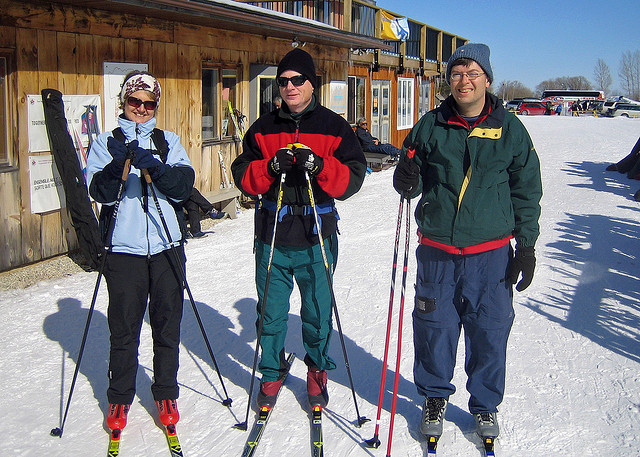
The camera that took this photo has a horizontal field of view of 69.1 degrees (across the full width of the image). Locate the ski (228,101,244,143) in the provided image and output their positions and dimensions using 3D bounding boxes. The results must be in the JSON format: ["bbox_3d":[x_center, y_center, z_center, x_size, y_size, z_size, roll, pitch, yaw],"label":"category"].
[{"bbox_3d":[-1.685,-2.157,9.314,0.258,0.745,0.237,1,14,9],"label":"ski"}]

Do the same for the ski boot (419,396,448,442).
[{"bbox_3d":[0.748,1.237,3.049,0.098,0.159,0.350,4,41,5],"label":"ski boot"}]

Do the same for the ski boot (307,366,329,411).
[{"bbox_3d":[-0.006,1.200,3.438,0.124,0.294,0.399,-7,9,5],"label":"ski boot"}]

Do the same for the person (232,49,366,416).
[{"bbox_3d":[-0.140,0.061,3.309,0.893,2.536,0.673,-3,14,-9],"label":"person"}]

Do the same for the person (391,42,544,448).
[{"bbox_3d":[0.924,0.133,2.973,0.877,2.490,0.611,4,14,20],"label":"person"}]

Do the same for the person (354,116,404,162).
[{"bbox_3d":[1.810,-2.752,14.134,1.417,1.172,0.681,7,8,17],"label":"person"}]

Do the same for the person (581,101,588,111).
[{"bbox_3d":[32.348,-14.872,56.664,0.590,0.909,2.718,7,18,27],"label":"person"}]

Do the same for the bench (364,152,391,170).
[{"bbox_3d":[1.734,-1.983,14.013,0.674,0.600,0.955,-1,16,-1],"label":"bench"}]

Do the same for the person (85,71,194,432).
[{"bbox_3d":[-1.133,0.156,3.053,0.640,2.244,0.550,-5,14,-17],"label":"person"}]

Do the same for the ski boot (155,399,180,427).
[{"bbox_3d":[-1.027,1.236,3.112,0.083,0.107,0.255,-11,57,-30],"label":"ski boot"}]

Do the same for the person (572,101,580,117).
[{"bbox_3d":[28.563,-13.360,51.881,0.585,1.340,2.081,7,18,28],"label":"person"}]

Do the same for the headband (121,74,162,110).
[{"bbox_3d":[-1.121,-0.854,2.927,0.156,0.128,0.212,3,7,-26],"label":"headband"}]

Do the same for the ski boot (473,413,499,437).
[{"bbox_3d":[1.101,1.281,3.027,0.149,0.133,0.118,-1,15,-1],"label":"ski boot"}]

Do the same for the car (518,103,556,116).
[{"bbox_3d":[24.145,-13.203,51.957,3.038,1.441,1.890,-4,25,2],"label":"car"}]

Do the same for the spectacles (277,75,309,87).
[{"bbox_3d":[-0.184,-0.992,3.132,0.202,0.075,0.074,-1,15,-2],"label":"spectacles"}]
